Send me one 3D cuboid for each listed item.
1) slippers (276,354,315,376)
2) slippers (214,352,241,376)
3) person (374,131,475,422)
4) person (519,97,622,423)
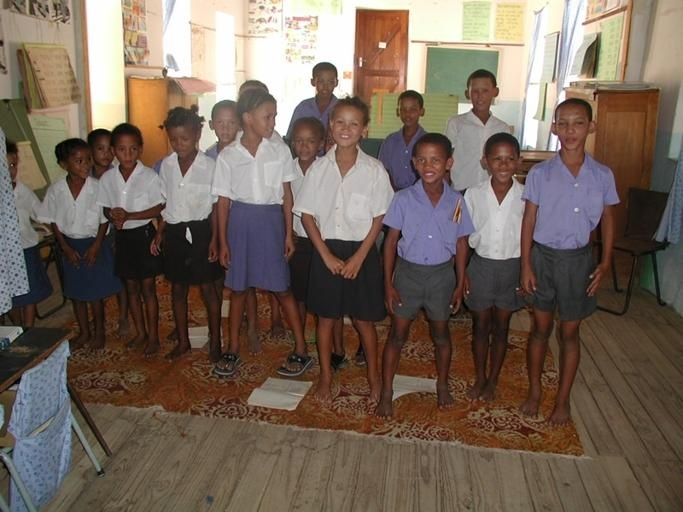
[{"bbox_3d":[-0.284,0.647,2.970,0.087,0.082,0.222,3,-1,21],"label":"slippers"},{"bbox_3d":[-0.683,0.644,2.939,0.078,0.083,0.193,5,-4,1],"label":"slippers"},{"bbox_3d":[0.430,0.212,2.583,0.533,1.197,0.335,-3,19,-6],"label":"person"},{"bbox_3d":[1.111,0.045,2.522,0.431,1.586,0.434,7,20,23],"label":"person"}]
